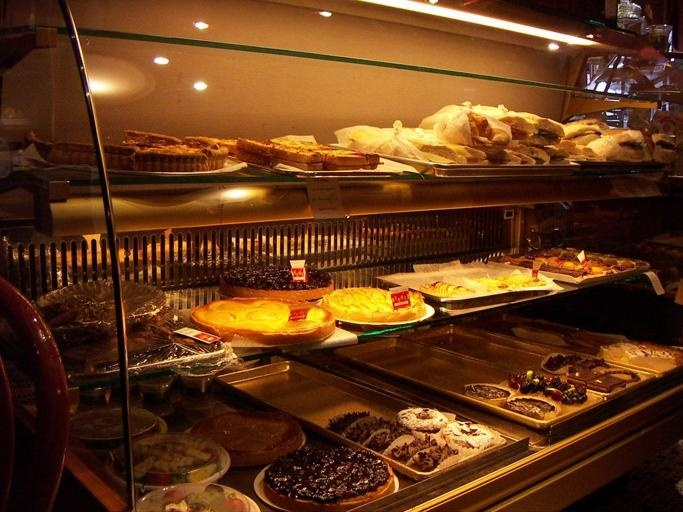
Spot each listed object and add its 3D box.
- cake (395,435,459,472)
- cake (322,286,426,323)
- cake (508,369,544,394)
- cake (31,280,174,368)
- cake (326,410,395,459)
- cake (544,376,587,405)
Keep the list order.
[{"bbox_3d":[0.285,0.626,1.654,0.114,0.031,0.180,4,11,39],"label":"cake"},{"bbox_3d":[0.081,0.161,1.689,0.203,0.031,0.180,4,9,27],"label":"cake"},{"bbox_3d":[0.777,0.523,2.200,0.105,0.028,0.112,4,7,22],"label":"cake"},{"bbox_3d":[-0.525,0.132,1.151,0.258,0.041,0.209,2,16,0],"label":"cake"},{"bbox_3d":[0.082,0.588,1.774,0.151,0.031,0.132,7,6,34],"label":"cake"},{"bbox_3d":[0.934,0.556,2.167,0.115,0.032,0.141,6,9,19],"label":"cake"}]
